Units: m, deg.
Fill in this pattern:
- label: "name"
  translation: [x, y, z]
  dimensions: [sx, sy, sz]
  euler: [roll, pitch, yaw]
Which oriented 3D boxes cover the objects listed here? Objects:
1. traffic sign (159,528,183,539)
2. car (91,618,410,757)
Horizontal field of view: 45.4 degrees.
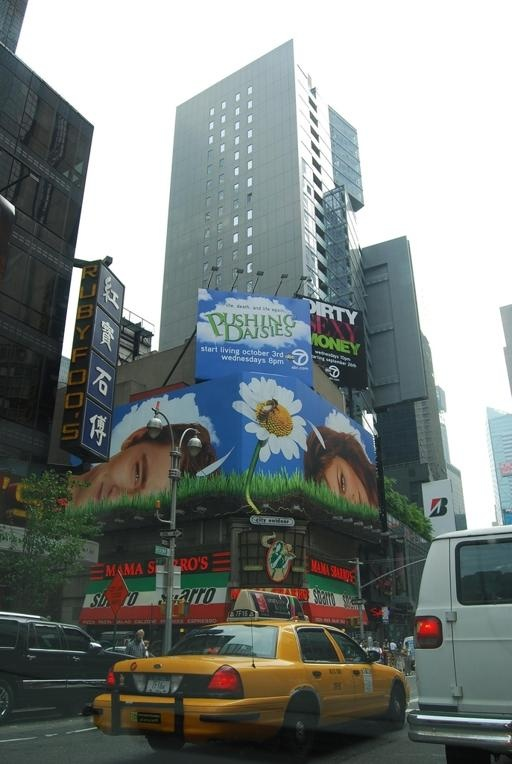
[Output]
- label: "traffic sign"
  translation: [-2.756, 4.817, 19.548]
  dimensions: [0.653, 0.277, 0.652]
  euler: [-2, -19, 4]
- label: "car"
  translation: [0.426, 3.289, 6.946]
  dimensions: [1.672, 1.139, 3.730]
  euler: [-14, -22, 37]
